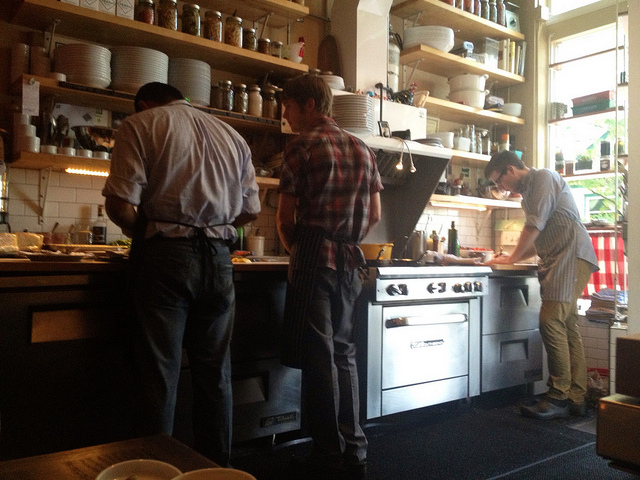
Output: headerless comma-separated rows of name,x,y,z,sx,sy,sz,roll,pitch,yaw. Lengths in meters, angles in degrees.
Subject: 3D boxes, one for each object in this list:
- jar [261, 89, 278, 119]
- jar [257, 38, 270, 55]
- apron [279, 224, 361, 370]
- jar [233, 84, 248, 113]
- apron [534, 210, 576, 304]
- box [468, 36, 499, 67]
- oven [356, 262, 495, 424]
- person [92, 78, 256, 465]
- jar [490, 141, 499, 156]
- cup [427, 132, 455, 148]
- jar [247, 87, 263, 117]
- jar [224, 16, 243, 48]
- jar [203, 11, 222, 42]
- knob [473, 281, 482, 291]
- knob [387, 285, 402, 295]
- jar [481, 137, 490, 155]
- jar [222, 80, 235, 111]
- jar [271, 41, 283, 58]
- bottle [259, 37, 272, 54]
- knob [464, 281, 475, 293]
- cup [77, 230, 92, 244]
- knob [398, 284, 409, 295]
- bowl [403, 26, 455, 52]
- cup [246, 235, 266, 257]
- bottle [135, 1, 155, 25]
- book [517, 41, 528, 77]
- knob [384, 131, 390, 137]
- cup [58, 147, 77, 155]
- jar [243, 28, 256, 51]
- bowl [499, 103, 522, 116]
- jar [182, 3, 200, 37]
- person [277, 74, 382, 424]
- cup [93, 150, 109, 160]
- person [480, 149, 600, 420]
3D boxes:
jar,-0.385,-1.012,3.789,0.142,0.239,0.139,1,13,0
jar,-0.410,-1.433,3.768,0.105,0.111,0.107,1,2,0
apron,-0.007,0.295,2.677,0.401,0.758,0.139,0,0,3
jar,-0.562,-1.046,3.670,0.117,0.211,0.121,7,25,-3
apron,1.740,0.117,3.742,0.275,0.688,0.185,0,0,24
box,1.661,-1.893,5.112,0.242,0.273,0.251,9,8,11
oven,0.648,0.609,3.558,0.909,0.942,0.715,0,4,-12
person,-0.640,0.145,2.364,0.651,1.807,0.335,0,0,-15
jar,1.815,-0.967,5.260,0.085,0.198,0.344,0,1,19
cup,1.123,-0.905,4.666,0.219,0.105,0.179,1,3,37
jar,-0.468,-1.008,3.691,0.117,0.220,0.077,0,0,-17
jar,-0.619,-1.489,3.653,0.136,0.220,0.143,1,8,0
jar,-0.745,-1.487,3.544,0.135,0.220,0.139,2,6,0
knob,1.130,0.323,3.610,0.053,0.102,0.073,0,2,26
knob,0.466,0.310,3.160,0.102,0.061,0.015,0,0,-35
jar,1.691,-0.960,5.152,0.068,0.184,0.138,0,0,20
jar,-0.637,-1.019,3.584,0.045,0.212,0.112,0,0,27
jar,-0.325,-1.445,3.831,0.082,0.120,0.068,0,0,-1
bottle,-0.394,-1.449,3.770,0.108,0.116,0.111,1,2,-5
knob,1.053,0.330,3.554,0.114,0.080,0.019,0,0,-41
cup,-1.509,-0.027,3.275,0.101,0.101,0.073,1,1,34
knob,0.531,0.319,3.204,0.067,0.065,0.048,-2,2,-22
bowl,1.017,-1.873,4.646,0.283,0.125,0.284,0,3,0
cup,-0.435,0.039,3.623,0.129,0.144,0.133,0,2,0
bottle,-1.127,-1.470,3.268,0.116,0.166,0.127,0,0,-22
book,2.113,-1.914,5.271,0.096,0.368,0.060,0,0,16
knob,0.521,-0.829,3.931,0.036,0.055,0.061,0,0,15
cup,-1.524,-0.533,3.052,0.056,0.043,0.057,0,3,0
jar,-0.506,-1.458,3.655,0.102,0.149,0.144,1,3,2
bowl,1.990,-1.360,5.232,0.162,0.088,0.162,-1,0,0
jar,-0.869,-1.490,3.431,0.113,0.222,0.092,0,0,-16
person,0.054,0.048,2.736,0.546,1.857,0.315,0,0,1
cup,-1.359,-0.527,3.144,0.061,0.046,0.062,0,3,0
person,1.686,0.296,3.819,0.723,1.992,0.719,0,0,30
